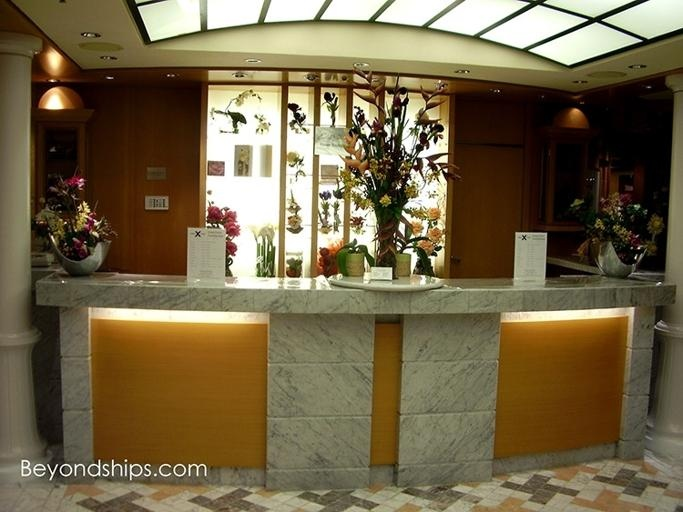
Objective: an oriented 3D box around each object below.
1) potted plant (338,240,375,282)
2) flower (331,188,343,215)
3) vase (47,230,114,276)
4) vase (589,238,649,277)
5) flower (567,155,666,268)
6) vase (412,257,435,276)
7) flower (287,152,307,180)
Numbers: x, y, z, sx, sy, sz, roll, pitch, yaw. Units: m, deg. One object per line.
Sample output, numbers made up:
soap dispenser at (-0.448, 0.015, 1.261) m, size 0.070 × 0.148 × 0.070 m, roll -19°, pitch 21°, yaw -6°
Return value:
potted plant at (0.188, 0.025, 4.398) m, size 0.222 × 0.252 × 0.251 m, roll -12°, pitch 0°, yaw -21°
flower at (-0.046, -0.651, 6.275) m, size 0.176 × 0.375 × 0.216 m, roll 0°, pitch 10°, yaw -9°
vase at (-2.104, -0.011, 4.380) m, size 0.436 × 0.300 × 0.407 m, roll 7°, pitch 12°, yaw -5°
vase at (2.662, 0.024, 5.226) m, size 0.363 × 0.328 × 0.374 m, roll -3°, pitch 9°, yaw -8°
flower at (2.612, -0.390, 5.599) m, size 1.059 × 1.181 × 1.077 m, roll 0°, pitch -1°, yaw 9°
vase at (0.833, 0.114, 5.604) m, size 0.241 × 0.234 × 0.227 m, roll 7°, pitch -6°, yaw -30°
flower at (-0.523, -1.052, 6.263) m, size 0.193 × 0.281 × 0.213 m, roll -3°, pitch 7°, yaw 37°
